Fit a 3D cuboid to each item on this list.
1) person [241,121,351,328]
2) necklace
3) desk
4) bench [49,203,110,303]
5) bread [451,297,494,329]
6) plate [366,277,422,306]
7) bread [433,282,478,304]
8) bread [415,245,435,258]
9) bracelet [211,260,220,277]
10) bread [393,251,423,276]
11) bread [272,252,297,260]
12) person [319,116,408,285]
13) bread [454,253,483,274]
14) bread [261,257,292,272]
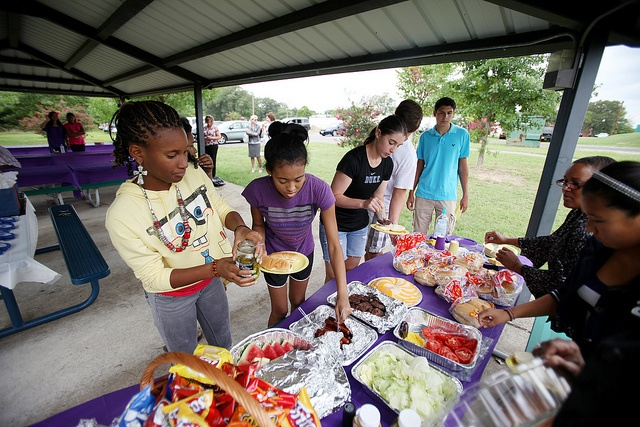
[{"bbox_3d":[-0.181,0.243,3.943,0.848,2.431,1.151,-4,7,-37],"label":"person"},{"bbox_3d":[-1.451,0.044,3.336,0.378,0.648,0.302,19,13,30],"label":"necklace"},{"bbox_3d":[-5.435,-0.724,7.399,2.822,1.020,1.477,-6,21,-42],"label":"desk"},{"bbox_3d":[-3.896,0.701,5.451,0.509,0.535,2.079,-19,45,-36],"label":"bench"},{"bbox_3d":[1.567,1.010,3.556,0.291,0.110,0.296,11,27,36],"label":"bread"},{"bbox_3d":[0.816,0.887,3.747,0.532,0.138,0.643,-2,13,-34],"label":"plate"},{"bbox_3d":[1.533,0.848,3.760,0.315,0.113,0.263,-30,37,-30],"label":"bread"},{"bbox_3d":[1.326,0.484,4.296,0.181,0.058,0.173,-25,38,-35],"label":"bread"},{"bbox_3d":[-0.994,0.524,3.193,0.051,0.132,0.107,-9,37,-17],"label":"bracelet"},{"bbox_3d":[1.066,0.607,4.103,0.261,0.086,0.255,-32,41,-26],"label":"bread"},{"bbox_3d":[-0.369,0.463,3.616,0.188,0.061,0.112,7,10,18],"label":"bread"},{"bbox_3d":[0.584,-0.355,4.518,0.851,2.492,0.891,-4,7,-38],"label":"person"},{"bbox_3d":[1.794,0.591,4.108,0.269,0.131,0.249,-10,10,-32],"label":"bread"},{"bbox_3d":[-0.456,0.535,3.466,0.219,0.060,0.141,5,30,7],"label":"bread"}]
